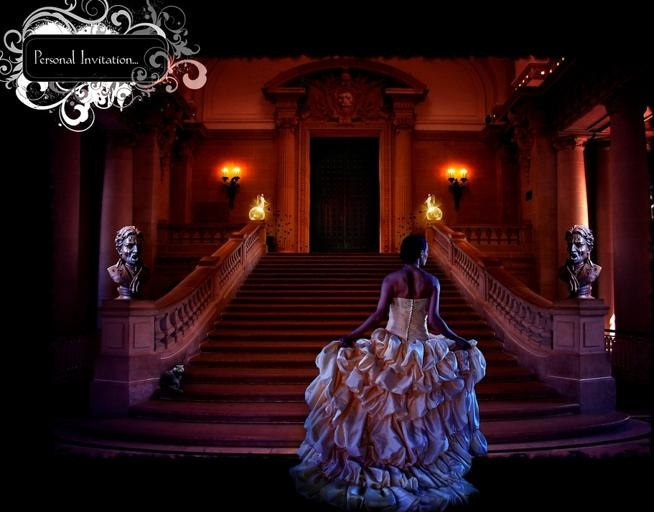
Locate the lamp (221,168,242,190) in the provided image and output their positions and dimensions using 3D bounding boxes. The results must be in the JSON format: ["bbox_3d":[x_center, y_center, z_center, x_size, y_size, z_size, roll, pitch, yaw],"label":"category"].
[{"bbox_3d":[-3.210,-2.531,16.423,0.606,0.901,0.291,1,-16,-6],"label":"lamp"}]

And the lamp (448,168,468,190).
[{"bbox_3d":[4.273,-2.491,16.396,0.577,0.822,0.272,2,-20,-3],"label":"lamp"}]

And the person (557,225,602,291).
[{"bbox_3d":[3.448,0.088,6.834,0.491,1.011,0.657,3,0,30],"label":"person"}]

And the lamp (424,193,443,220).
[{"bbox_3d":[3.266,-1.524,15.475,0.620,0.882,1.993,3,0,12],"label":"lamp"}]

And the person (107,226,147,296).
[{"bbox_3d":[-2.670,0.097,6.662,0.456,0.944,0.484,3,0,-25],"label":"person"}]
